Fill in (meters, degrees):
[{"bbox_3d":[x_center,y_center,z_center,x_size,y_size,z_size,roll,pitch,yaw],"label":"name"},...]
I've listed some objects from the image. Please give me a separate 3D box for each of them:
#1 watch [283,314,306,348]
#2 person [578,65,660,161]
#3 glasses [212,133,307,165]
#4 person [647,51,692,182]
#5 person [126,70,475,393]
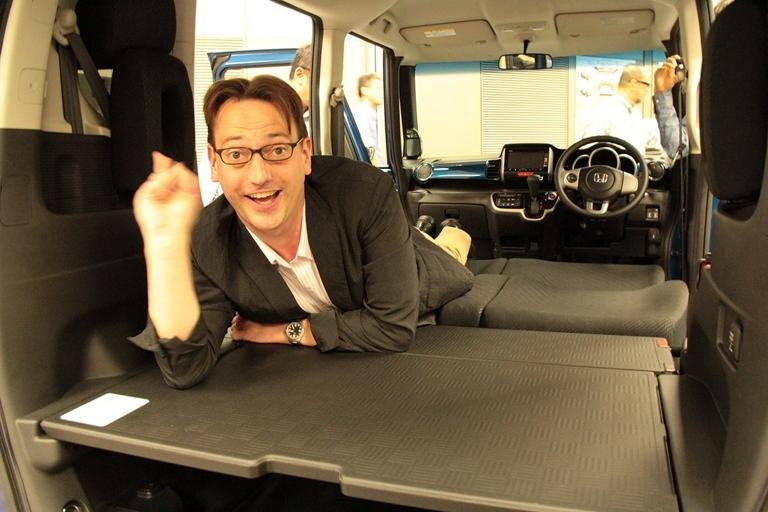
[{"bbox_3d":[-0.365,0.325,2.254,0.082,0.102,0.101,-4,10,13],"label":"watch"},{"bbox_3d":[1.840,-1.029,4.046,0.494,0.782,0.526,7,10,-1],"label":"person"},{"bbox_3d":[-0.471,-0.399,2.062,0.314,0.088,0.106,-4,13,-9],"label":"glasses"},{"bbox_3d":[1.881,-0.942,3.492,0.217,0.759,0.724,4,15,25],"label":"person"},{"bbox_3d":[-0.135,-0.142,2.910,0.953,1.128,2.566,-7,1,21],"label":"person"}]
